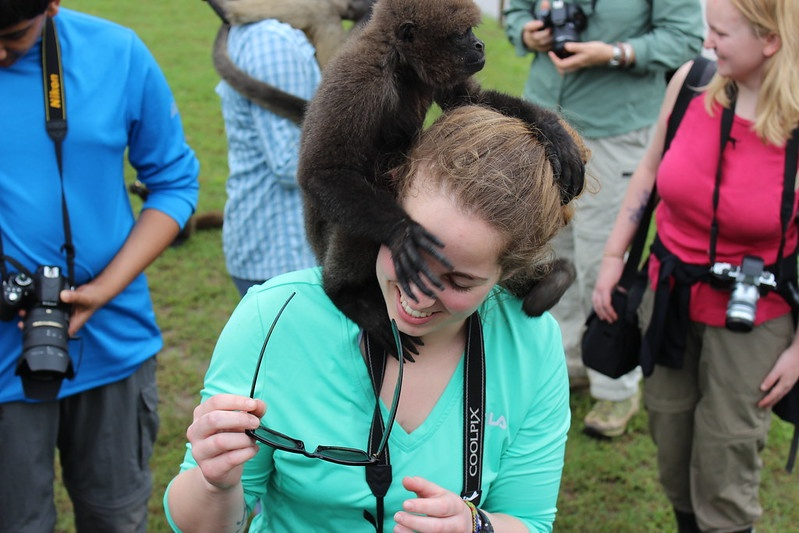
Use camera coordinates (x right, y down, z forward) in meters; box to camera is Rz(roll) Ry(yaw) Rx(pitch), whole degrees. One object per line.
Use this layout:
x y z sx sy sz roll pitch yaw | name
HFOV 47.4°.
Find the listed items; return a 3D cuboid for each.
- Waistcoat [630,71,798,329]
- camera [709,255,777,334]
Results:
1.823 -0.349 5.220 0.684 1.319 0.921 -17 40 -42 | Waistcoat
1.898 0.117 5.099 0.399 0.256 0.369 17 62 14 | camera
